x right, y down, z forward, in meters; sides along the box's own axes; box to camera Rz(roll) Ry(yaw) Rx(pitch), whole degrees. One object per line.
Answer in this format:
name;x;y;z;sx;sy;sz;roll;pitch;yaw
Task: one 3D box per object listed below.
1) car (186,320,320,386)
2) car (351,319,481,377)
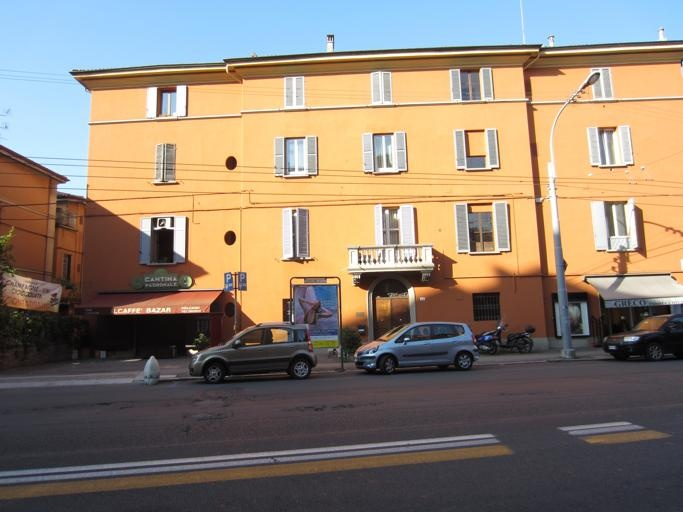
car;-2.861;3.198;20.505;3.570;1.577;1.986;2;-10;-7
car;2.568;3.226;21.465;3.661;1.432;1.924;2;-11;-3
